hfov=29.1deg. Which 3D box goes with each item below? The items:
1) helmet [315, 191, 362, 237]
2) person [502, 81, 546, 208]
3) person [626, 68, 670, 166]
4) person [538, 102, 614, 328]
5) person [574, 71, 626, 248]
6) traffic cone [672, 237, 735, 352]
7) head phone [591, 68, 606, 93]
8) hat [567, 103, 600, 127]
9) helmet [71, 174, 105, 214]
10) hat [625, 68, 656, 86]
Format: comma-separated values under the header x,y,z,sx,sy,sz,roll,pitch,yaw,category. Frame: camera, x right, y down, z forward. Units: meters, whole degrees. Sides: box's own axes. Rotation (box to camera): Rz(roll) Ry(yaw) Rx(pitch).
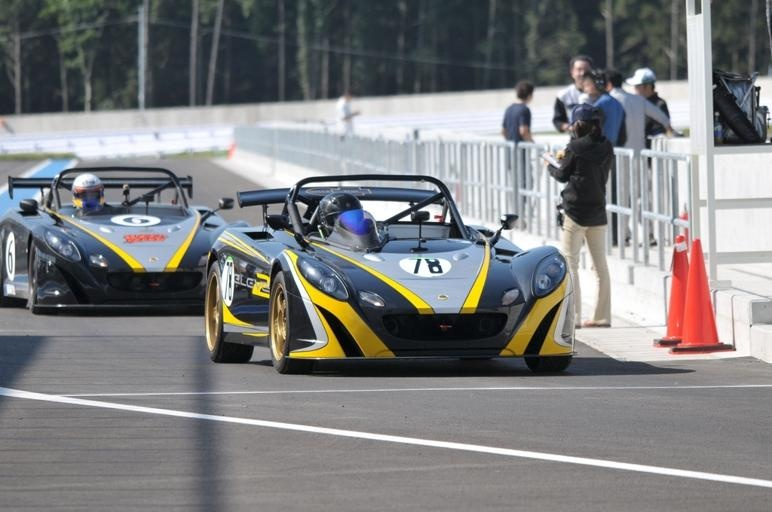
x,y,z,sx,sy,sz,roll,pitch,yaw,category
-0.459,-0.481,14.548,0.351,0.362,0.403,-6,36,-14,helmet
1.990,-1.465,21.331,0.546,2.079,0.641,-4,11,-24,person
3.471,-2.002,19.700,0.559,1.512,0.643,4,1,9,person
2.095,-0.422,15.774,0.730,2.458,0.733,-1,1,-33,person
2.907,-1.178,18.397,0.763,2.342,1.004,0,0,-7,person
3.149,0.343,14.823,0.437,1.198,0.521,1,2,-5,traffic cone
2.615,-2.173,18.319,0.194,0.256,0.262,-13,49,-10,head phone
2.081,-1.492,15.486,0.308,0.226,0.220,3,11,15,hat
-3.652,-0.839,18.330,0.393,0.420,0.502,-1,20,-4,helmet
3.362,-2.368,19.536,0.391,0.210,0.286,-2,10,-4,hat
